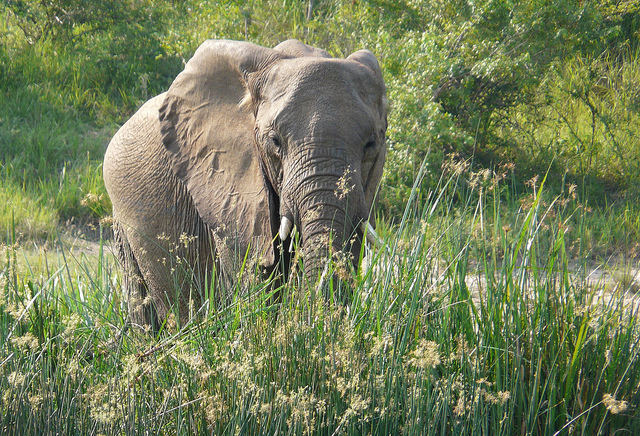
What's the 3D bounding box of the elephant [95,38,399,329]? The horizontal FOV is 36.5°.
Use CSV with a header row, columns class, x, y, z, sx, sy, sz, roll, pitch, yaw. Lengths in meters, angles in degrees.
class,x,y,z,sx,sy,sz,roll,pitch,yaw
elephant,-0.967,0.116,10.715,1.986,3.672,3.732,2,-7,-38
